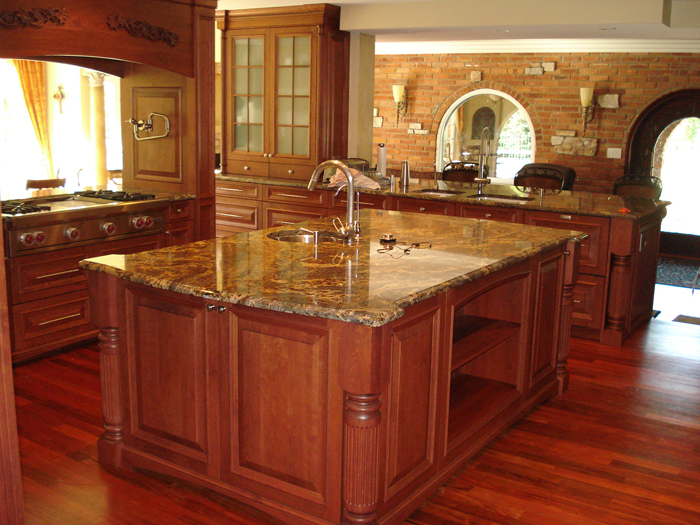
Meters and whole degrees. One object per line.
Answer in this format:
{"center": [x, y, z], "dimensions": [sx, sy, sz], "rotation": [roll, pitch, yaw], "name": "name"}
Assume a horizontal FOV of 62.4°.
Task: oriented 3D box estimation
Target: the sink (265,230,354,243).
{"center": [-0.262, -0.166, 3.567], "dimensions": [0.284, 0.082, 0.186], "rotation": [1, 5, -12], "name": "sink"}

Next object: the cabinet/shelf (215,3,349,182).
{"center": [-0.800, -1.885, 6.534], "dimensions": [1.483, 1.845, 0.495], "rotation": [7, 16, 23], "name": "cabinet/shelf"}

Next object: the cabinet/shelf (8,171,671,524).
{"center": [-0.045, 0.481, 3.158], "dimensions": [2.264, 0.443, 2.137], "rotation": [8, 17, 32], "name": "cabinet/shelf"}

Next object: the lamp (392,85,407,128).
{"center": [0.853, -2.776, 10.123], "dimensions": [0.252, 0.726, 0.181], "rotation": [8, 17, 24], "name": "lamp"}

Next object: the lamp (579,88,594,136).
{"center": [3.514, -2.270, 8.591], "dimensions": [0.214, 0.709, 0.216], "rotation": [7, 16, 22], "name": "lamp"}
